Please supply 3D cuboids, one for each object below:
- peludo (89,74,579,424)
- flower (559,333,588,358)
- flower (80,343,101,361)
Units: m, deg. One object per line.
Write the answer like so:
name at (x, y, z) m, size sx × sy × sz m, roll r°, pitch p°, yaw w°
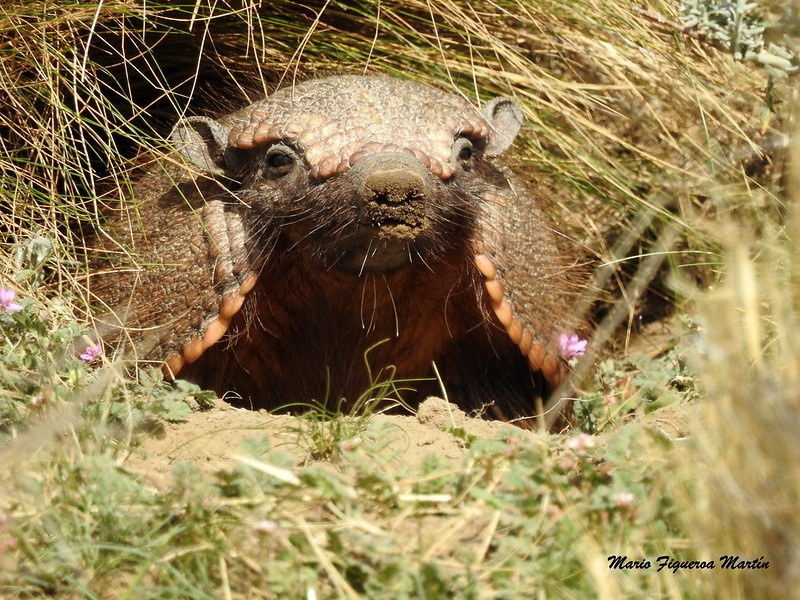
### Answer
peludo at (-0.240, -0.109, 2.959) m, size 1.106 × 0.739 × 1.427 m, roll 2°, pitch -1°, yaw -11°
flower at (0.574, 0.138, 2.798) m, size 0.087 × 0.053 × 0.083 m, roll 31°, pitch -24°, yaw 21°
flower at (-0.850, 0.144, 2.326) m, size 0.064 × 0.052 × 0.031 m, roll -18°, pitch -40°, yaw 33°
